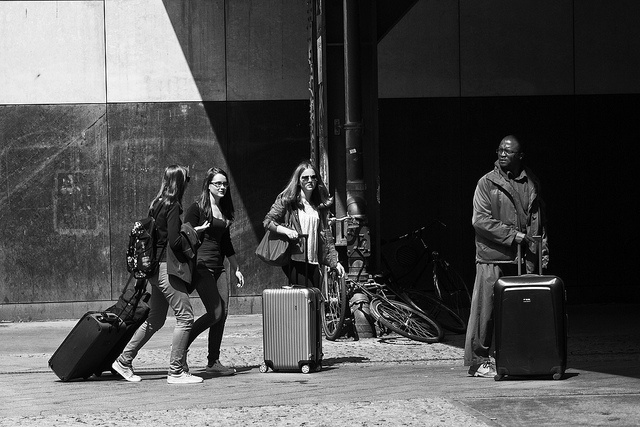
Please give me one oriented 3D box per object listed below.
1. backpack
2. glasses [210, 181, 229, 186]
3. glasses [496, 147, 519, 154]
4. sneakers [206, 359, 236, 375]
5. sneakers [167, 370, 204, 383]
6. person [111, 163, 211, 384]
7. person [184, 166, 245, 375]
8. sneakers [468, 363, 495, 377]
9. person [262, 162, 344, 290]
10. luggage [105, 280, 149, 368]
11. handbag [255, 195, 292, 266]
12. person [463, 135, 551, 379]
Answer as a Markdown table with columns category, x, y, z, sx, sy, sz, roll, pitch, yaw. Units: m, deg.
| category | x | y | z | sx | sy | sz | roll | pitch | yaw |
| --- | --- | --- | --- | --- | --- | --- | --- | --- | --- |
| backpack | -2.285 | 0.307 | 12.916 | 0.558 | 1.031 | 0.423 | 0 | 3 | -16 |
| glasses | -1.360 | -0.410 | 13.152 | 0.220 | 0.080 | 0.059 | 1 | -3 | -5 |
| glasses | 2.451 | -0.826 | 12.820 | 0.301 | 0.094 | 0.136 | -2 | -5 | 37 |
| sneakers | -1.375 | 2.116 | 13.504 | 0.446 | 0.205 | 0.164 | 1 | 0 | -3 |
| sneakers | -1.788 | 2.159 | 12.924 | 0.475 | 0.189 | 0.169 | 0 | -2 | -5 |
| person | -2.096 | 0.788 | 12.858 | 1.010 | 2.861 | 0.481 | 0 | -3 | 17 |
| person | -1.458 | 0.770 | 13.211 | 0.935 | 2.790 | 1.004 | -3 | -3 | 41 |
| sneakers | 2.151 | 2.064 | 12.977 | 0.331 | 0.171 | 0.148 | -6 | -6 | 18 |
| person | -0.147 | 0.600 | 13.935 | 1.051 | 2.485 | 0.996 | 1 | 9 | 26 |
| luggage | -2.578 | 1.482 | 13.456 | 0.773 | 1.240 | 0.567 | 2 | -5 | 7 |
| handbag | -0.661 | 0.376 | 13.602 | 0.308 | 0.638 | 0.309 | 0 | -4 | -34 |
| person | 2.404 | 0.608 | 13.148 | 1.056 | 3.194 | 1.249 | 1 | -1 | 0 |
